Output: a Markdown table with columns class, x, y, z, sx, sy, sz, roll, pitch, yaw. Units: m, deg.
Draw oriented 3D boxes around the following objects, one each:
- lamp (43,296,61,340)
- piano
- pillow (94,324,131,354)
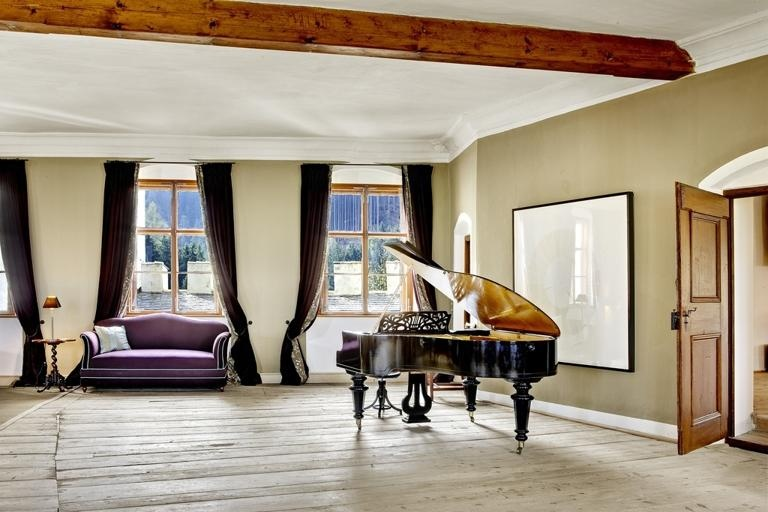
| class | x | y | z | sx | sy | sz | roll | pitch | yaw |
| --- | --- | --- | --- | --- | --- | --- | --- | --- | --- |
| lamp | -5.545 | 1.030 | 10.009 | 0.273 | 0.757 | 0.710 | -3 | 5 | -29 |
| piano | 1.019 | 1.008 | 8.149 | 2.255 | 2.851 | 2.932 | 0 | 0 | -16 |
| pillow | -4.469 | 1.372 | 9.767 | 0.192 | 0.336 | 0.429 | -2 | 1 | 40 |
